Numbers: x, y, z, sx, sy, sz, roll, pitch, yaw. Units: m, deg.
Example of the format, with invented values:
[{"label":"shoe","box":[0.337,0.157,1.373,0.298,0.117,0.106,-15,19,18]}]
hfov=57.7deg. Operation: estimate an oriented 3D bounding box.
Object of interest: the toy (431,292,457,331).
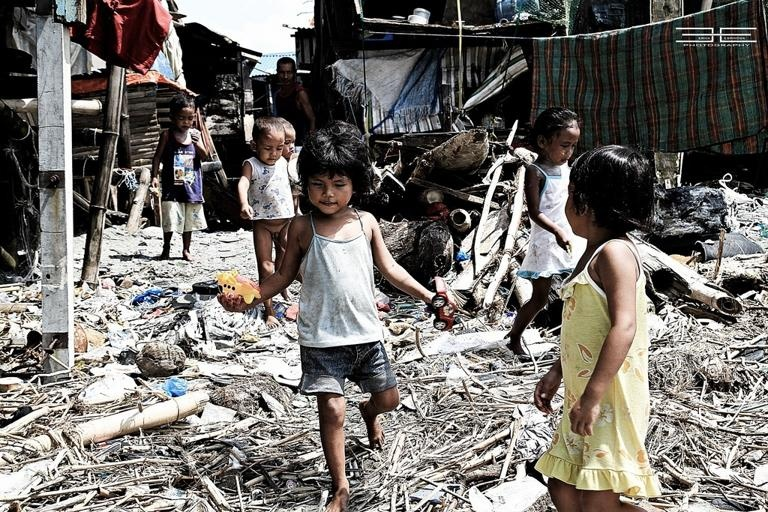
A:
[{"label":"toy","box":[0.348,0.346,4.249,0.165,0.226,0.061,-10,2,-10]}]

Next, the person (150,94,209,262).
[{"label":"person","box":[-2.450,-0.904,8.364,0.623,1.944,0.550,-1,7,-15]}]

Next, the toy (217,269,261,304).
[{"label":"toy","box":[-0.840,0.182,4.011,0.201,0.080,0.198,26,5,-27]}]

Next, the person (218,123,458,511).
[{"label":"person","box":[-0.273,0.336,4.143,1.044,2.244,0.515,-3,8,-26]}]
